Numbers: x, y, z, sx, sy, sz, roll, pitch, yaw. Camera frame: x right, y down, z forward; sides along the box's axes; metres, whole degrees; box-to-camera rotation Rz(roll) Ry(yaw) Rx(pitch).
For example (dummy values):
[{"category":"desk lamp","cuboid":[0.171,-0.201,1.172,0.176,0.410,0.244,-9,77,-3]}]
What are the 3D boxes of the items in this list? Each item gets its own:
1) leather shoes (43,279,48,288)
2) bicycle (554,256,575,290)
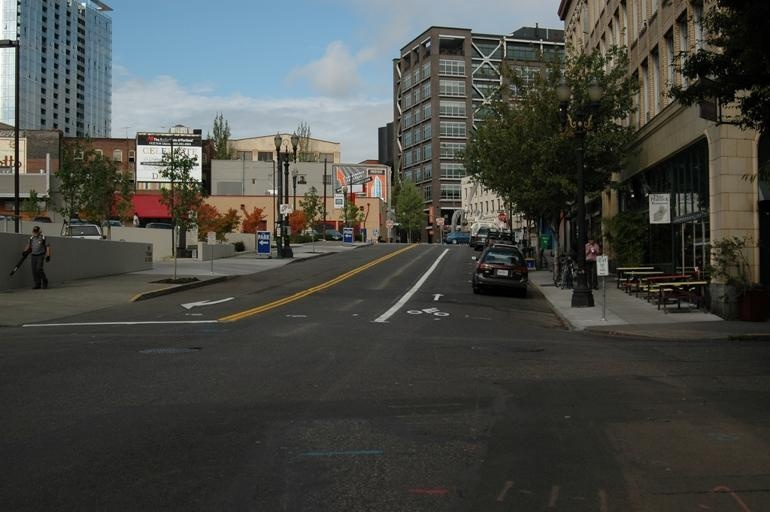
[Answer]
[{"category":"leather shoes","cuboid":[-11.585,0.940,27.017,0.092,0.140,0.324,-3,43,-3]},{"category":"bicycle","cuboid":[7.342,0.709,32.120,0.714,0.961,1.547,0,-3,5]}]
